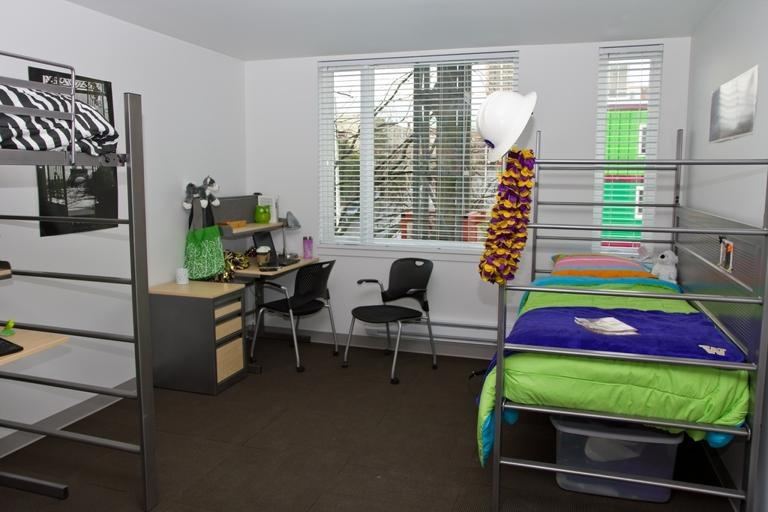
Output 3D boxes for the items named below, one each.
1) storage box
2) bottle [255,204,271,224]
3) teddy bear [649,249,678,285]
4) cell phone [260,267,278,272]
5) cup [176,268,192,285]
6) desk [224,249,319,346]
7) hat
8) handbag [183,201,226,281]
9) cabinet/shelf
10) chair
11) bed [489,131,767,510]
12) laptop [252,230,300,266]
[{"bbox_3d":[1.499,1.310,3.275,0.756,0.381,0.537,4,3,17],"label":"storage box"},{"bbox_3d":[-1.366,-0.470,5.706,0.206,0.220,0.171,0,6,1],"label":"bottle"},{"bbox_3d":[2.574,0.103,4.466,0.171,0.300,0.237,-5,11,-30],"label":"teddy bear"},{"bbox_3d":[-1.168,0.139,5.016,0.169,0.016,0.180,-6,13,-22],"label":"cell phone"},{"bbox_3d":[-1.924,0.199,4.721,0.143,0.150,0.130,1,8,0],"label":"cup"},{"bbox_3d":[-1.251,0.472,5.329,0.688,0.632,0.860,1,4,2],"label":"desk"},{"bbox_3d":[0.666,-0.718,2.934,0.202,0.396,0.403,16,-32,-10],"label":"hat"},{"bbox_3d":[-1.787,-0.147,4.893,0.390,0.794,0.348,-6,14,-22],"label":"handbag"},{"bbox_3d":[-1.571,0.732,4.844,0.969,1.227,0.865,0,4,8],"label":"cabinet/shelf"},{"bbox_3d":[-0.277,0.568,5.152,1.658,1.068,0.974,1,13,6],"label":"chair"},{"bbox_3d":[1.744,0.465,3.431,1.171,2.013,2.754,3,6,25],"label":"bed"},{"bbox_3d":[-1.222,-0.076,5.516,0.443,0.314,0.440,1,8,5],"label":"laptop"}]
